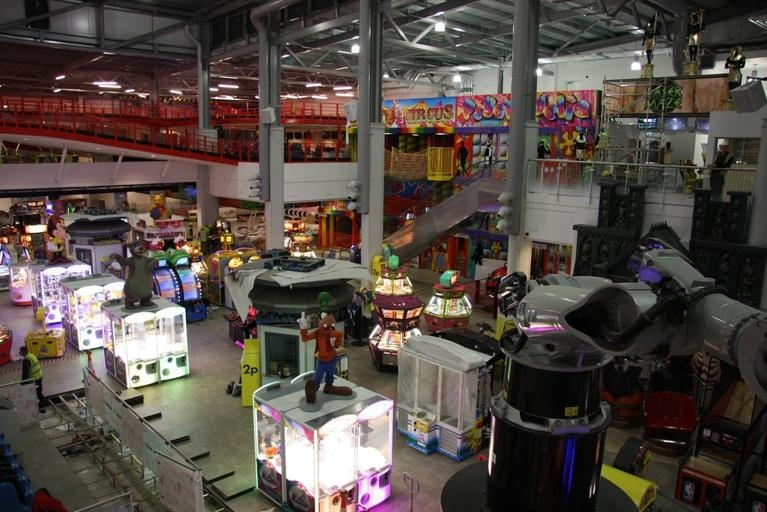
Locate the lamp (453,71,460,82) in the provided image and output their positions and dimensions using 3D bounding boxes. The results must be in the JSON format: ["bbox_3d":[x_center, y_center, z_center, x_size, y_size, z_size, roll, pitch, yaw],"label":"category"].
[{"bbox_3d":[3.920,-9.555,30.324,0.502,0.521,0.485,-1,1,8],"label":"lamp"}]

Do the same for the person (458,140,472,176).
[{"bbox_3d":[3.479,-4.060,24.466,0.497,1.176,0.814,-1,10,8],"label":"person"}]

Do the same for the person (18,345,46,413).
[{"bbox_3d":[-8.454,2.911,13.575,0.407,1.489,1.240,-9,12,-33],"label":"person"}]

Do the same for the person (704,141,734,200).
[{"bbox_3d":[7.970,-1.991,13.380,0.443,1.262,2.308,3,11,30],"label":"person"}]

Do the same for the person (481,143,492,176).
[{"bbox_3d":[4.306,-4.020,23.399,0.414,1.244,2.041,-1,10,11],"label":"person"}]
